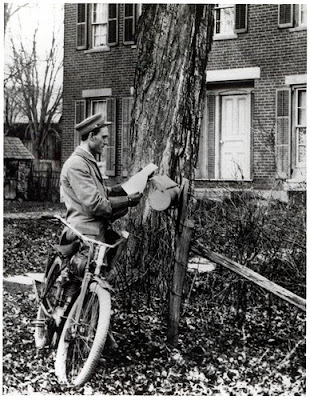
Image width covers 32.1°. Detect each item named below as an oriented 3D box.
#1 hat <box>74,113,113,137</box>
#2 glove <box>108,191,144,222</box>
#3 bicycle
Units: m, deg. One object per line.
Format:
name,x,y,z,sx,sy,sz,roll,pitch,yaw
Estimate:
hat,-0.560,-0.665,4.865,0.237,0.137,0.211,-26,16,-4
glove,-0.269,0.014,4.719,0.269,0.189,0.157,-38,35,7
bicycle,-0.787,0.987,5.022,0.631,1.320,1.760,19,-7,-19
